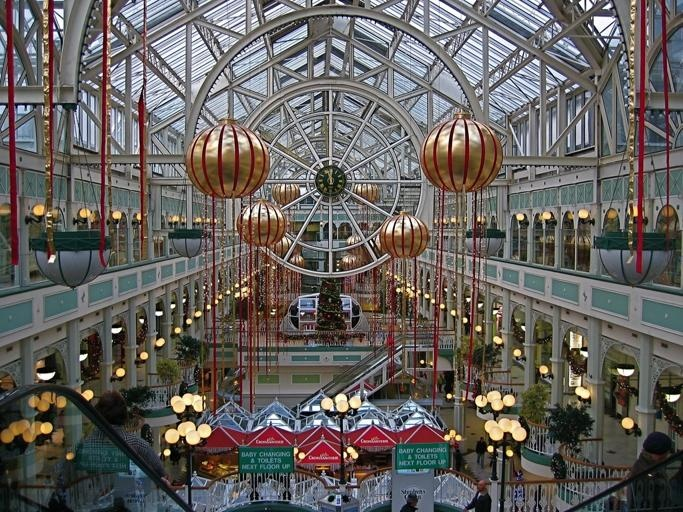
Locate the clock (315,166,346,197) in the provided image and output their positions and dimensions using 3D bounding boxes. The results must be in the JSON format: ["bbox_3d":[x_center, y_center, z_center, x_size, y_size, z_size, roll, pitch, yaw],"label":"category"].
[{"bbox_3d":[-0.347,-2.423,25.591,0.621,0.657,0.087,-39,-1,-2],"label":"clock"}]

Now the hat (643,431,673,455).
[{"bbox_3d":[5.461,3.244,13.563,0.347,0.353,0.392,1,0,19],"label":"hat"}]

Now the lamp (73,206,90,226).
[{"bbox_3d":[-7.563,-1.128,22.754,0.440,0.517,2.097,0,3,-19],"label":"lamp"}]

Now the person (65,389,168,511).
[{"bbox_3d":[-4.098,3.527,15.028,1.223,1.706,1.164,0,2,-12],"label":"person"}]
